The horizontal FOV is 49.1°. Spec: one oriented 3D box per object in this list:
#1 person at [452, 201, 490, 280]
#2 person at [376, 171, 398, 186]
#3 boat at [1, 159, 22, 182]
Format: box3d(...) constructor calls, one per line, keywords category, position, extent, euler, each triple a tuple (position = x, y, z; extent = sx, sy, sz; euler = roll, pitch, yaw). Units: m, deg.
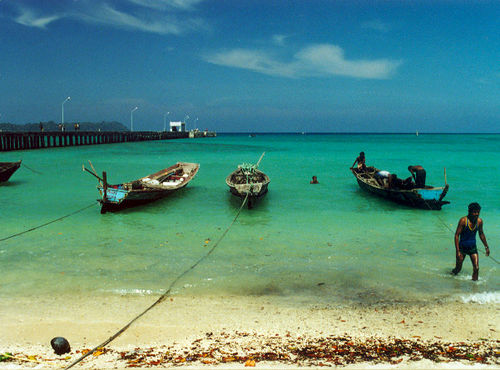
box3d(category="person", position=(7.402, 1.917, 18.331), extent=(0.993, 2.732, 1.032), euler=(2, 9, 26))
box3d(category="person", position=(7.608, -0.455, 30.444), extent=(0.791, 0.301, 1.005), euler=(5, -9, -16))
box3d(category="boat", position=(-15.487, -0.988, 35.315), extent=(0.890, 0.649, 2.264), euler=(0, 27, 0))
